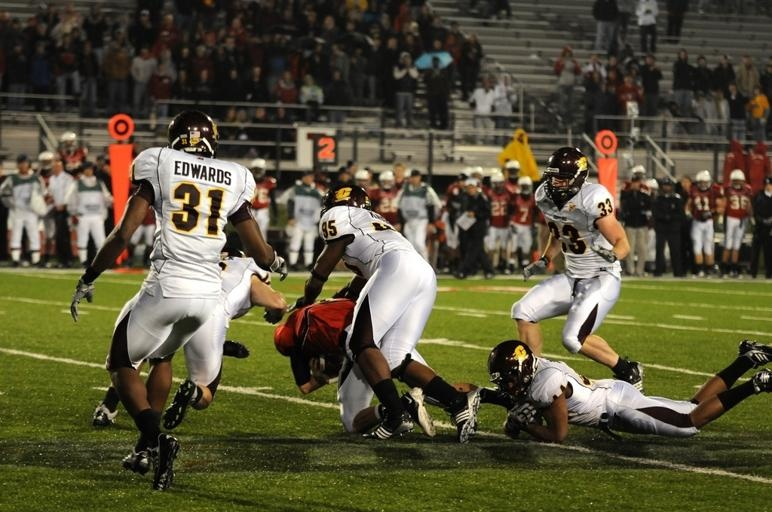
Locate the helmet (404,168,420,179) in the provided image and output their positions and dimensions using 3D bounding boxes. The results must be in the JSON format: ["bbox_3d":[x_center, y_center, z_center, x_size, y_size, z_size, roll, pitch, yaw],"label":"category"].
[{"bbox_3d":[0.504,-1.460,21.062,0.129,0.112,0.204,4,14,16],"label":"helmet"}]

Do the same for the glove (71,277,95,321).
[{"bbox_3d":[-3.194,0.492,12.430,0.168,0.578,0.292,13,4,-9],"label":"glove"}]

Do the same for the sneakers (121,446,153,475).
[{"bbox_3d":[-2.060,1.710,9.778,0.155,0.185,0.415,37,-11,-17],"label":"sneakers"}]

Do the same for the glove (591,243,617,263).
[{"bbox_3d":[2.151,-0.018,11.539,0.260,0.158,0.359,3,1,9],"label":"glove"}]

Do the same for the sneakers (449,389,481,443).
[{"bbox_3d":[0.676,1.395,10.247,0.235,0.498,0.181,4,-20,10],"label":"sneakers"}]

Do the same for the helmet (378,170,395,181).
[{"bbox_3d":[0.017,-1.452,21.365,0.212,0.253,0.249,2,10,-3],"label":"helmet"}]

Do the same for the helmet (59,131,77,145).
[{"bbox_3d":[-6.042,-2.220,22.278,0.305,0.166,0.251,6,6,10],"label":"helmet"}]

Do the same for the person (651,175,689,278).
[{"bbox_3d":[5.166,-0.499,21.507,0.614,1.669,0.957,3,1,14],"label":"person"}]

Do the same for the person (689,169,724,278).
[{"bbox_3d":[5.798,-0.563,21.539,0.591,1.824,0.457,3,1,-4],"label":"person"}]

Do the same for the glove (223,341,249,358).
[{"bbox_3d":[-1.424,0.903,11.155,0.217,0.141,0.093,18,15,20],"label":"glove"}]

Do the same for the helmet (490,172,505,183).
[{"bbox_3d":[2.077,-1.463,21.927,0.230,0.185,0.257,3,1,0],"label":"helmet"}]

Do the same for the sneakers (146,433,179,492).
[{"bbox_3d":[-1.800,1.662,9.609,0.235,0.527,0.177,13,14,24],"label":"sneakers"}]

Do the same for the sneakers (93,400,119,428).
[{"bbox_3d":[-2.581,1.475,10.791,0.116,0.137,0.293,3,-4,0],"label":"sneakers"}]

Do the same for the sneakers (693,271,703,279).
[{"bbox_3d":[5.712,0.367,21.535,0.132,0.049,0.130,-32,19,-19],"label":"sneakers"}]

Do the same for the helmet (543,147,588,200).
[{"bbox_3d":[1.782,-0.790,11.691,0.409,0.510,0.200,3,1,8],"label":"helmet"}]

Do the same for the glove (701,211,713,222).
[{"bbox_3d":[5.819,-0.704,21.356,0.168,0.148,0.208,20,-7,-41],"label":"glove"}]

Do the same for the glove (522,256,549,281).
[{"bbox_3d":[1.560,0.145,12.196,0.183,0.092,0.313,36,29,25],"label":"glove"}]
